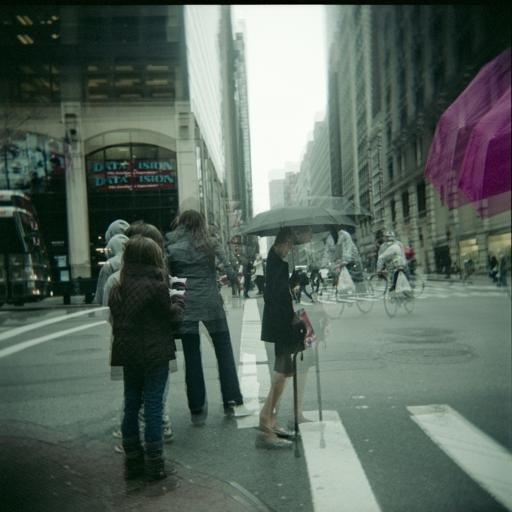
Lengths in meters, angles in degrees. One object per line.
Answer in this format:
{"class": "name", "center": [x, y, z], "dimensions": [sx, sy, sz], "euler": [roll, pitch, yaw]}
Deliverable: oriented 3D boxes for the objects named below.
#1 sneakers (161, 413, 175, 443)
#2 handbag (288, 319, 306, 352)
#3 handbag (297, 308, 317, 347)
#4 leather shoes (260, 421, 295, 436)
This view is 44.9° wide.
{"class": "sneakers", "center": [-0.723, 1.435, 5.190], "dimensions": [0.058, 0.161, 0.200], "euler": [0, 5, -1]}
{"class": "handbag", "center": [0.347, 0.657, 5.133], "dimensions": [0.121, 0.253, 0.061], "euler": [-3, -4, -8]}
{"class": "handbag", "center": [0.435, 0.600, 5.178], "dimensions": [0.144, 0.318, 0.072], "euler": [-18, 3, -44]}
{"class": "leather shoes", "center": [0.186, 1.423, 5.179], "dimensions": [0.277, 0.099, 0.125], "euler": [7, -7, 3]}
